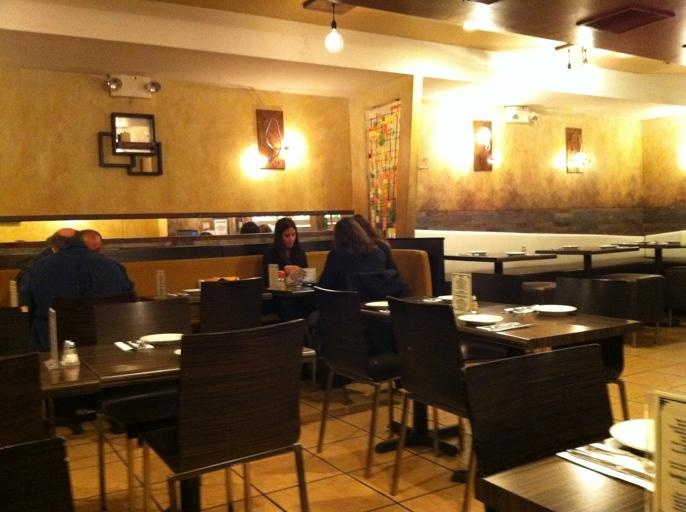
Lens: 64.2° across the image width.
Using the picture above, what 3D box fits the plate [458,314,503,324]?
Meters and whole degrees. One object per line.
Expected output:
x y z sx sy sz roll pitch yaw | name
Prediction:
0.783 0.361 3.108 0.248 0.033 0.203 -1 5 10 | plate

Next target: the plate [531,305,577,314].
1.293 0.330 3.334 0.244 0.049 0.258 -1 5 16 | plate

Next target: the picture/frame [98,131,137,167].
-2.533 -1.177 6.079 0.379 0.413 0.140 -5 6 -19 | picture/frame

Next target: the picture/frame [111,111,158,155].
-2.366 -1.374 6.122 0.641 0.497 0.200 0 -2 -29 | picture/frame

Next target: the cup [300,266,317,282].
-0.321 0.188 5.299 0.144 0.093 0.136 0 1 0 | cup

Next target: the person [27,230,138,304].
-1.944 0.082 4.003 0.805 0.661 0.408 -3 2 -21 | person
